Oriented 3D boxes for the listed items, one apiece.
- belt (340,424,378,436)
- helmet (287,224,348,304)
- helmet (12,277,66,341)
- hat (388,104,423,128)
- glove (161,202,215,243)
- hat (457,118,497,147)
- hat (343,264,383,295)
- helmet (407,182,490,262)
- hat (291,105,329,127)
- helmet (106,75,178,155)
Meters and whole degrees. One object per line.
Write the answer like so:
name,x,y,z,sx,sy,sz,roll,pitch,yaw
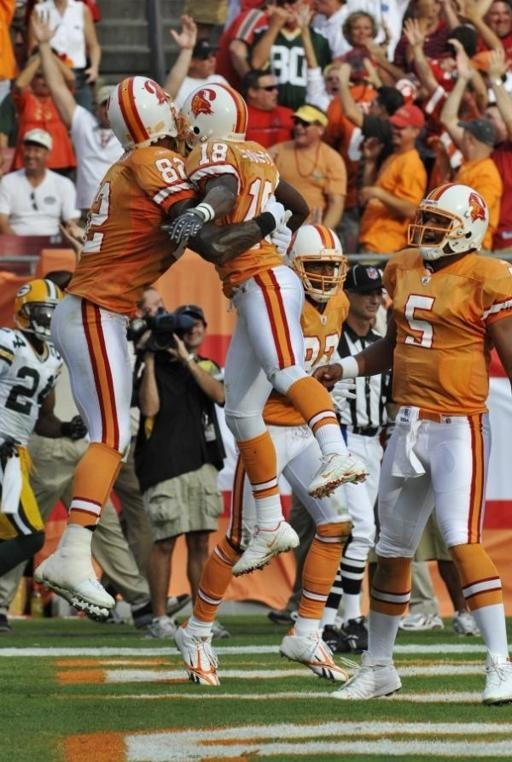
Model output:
belt,0.563,0.274,4.869,0.172,0.064,0.117,0,7,5
helmet,0.278,-0.531,4.014,0.274,0.328,0.347,1,17,-31
helmet,-1.170,-0.368,4.782,0.248,0.285,0.427,1,20,-12
hat,1.171,-2.046,6.936,0.210,0.109,0.142,20,15,-20
glove,-0.205,-0.476,2.752,0.108,0.058,0.163,13,52,24
hat,1.657,-1.848,6.621,0.276,0.136,0.186,31,18,-1
hat,0.581,-0.566,5.011,0.190,0.136,0.253,1,5,-25
helmet,0.732,-0.556,3.169,0.333,0.253,0.253,-2,0,-32
hat,0.441,-2.155,7.256,0.247,0.081,0.165,20,-3,-43
helmet,-0.406,-0.954,3.211,0.255,0.256,0.193,2,21,-9
